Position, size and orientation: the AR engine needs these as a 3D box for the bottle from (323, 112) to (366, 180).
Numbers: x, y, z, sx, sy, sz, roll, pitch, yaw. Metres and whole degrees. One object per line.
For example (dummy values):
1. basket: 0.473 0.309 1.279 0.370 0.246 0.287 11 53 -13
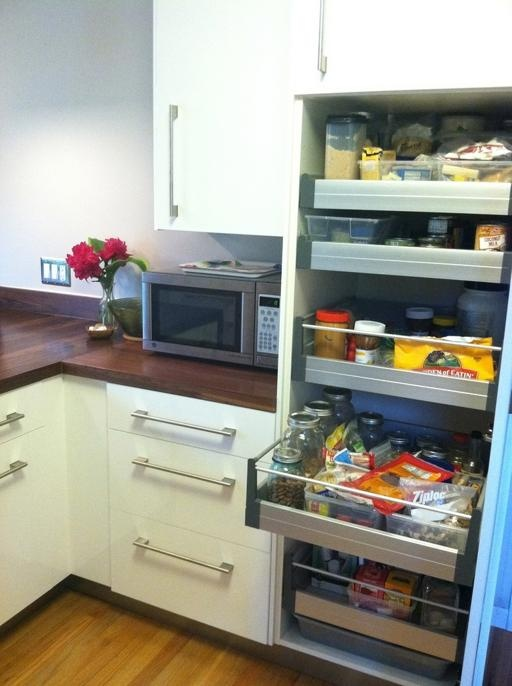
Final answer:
1. bottle: 0.186 -0.399 1.166 0.087 0.130 0.068 2 11 0

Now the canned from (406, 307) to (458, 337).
1. canned: 0.403 -0.050 1.312 0.104 0.046 0.062 -2 12 -7

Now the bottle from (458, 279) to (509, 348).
1. bottle: 0.499 -0.069 1.299 0.120 0.133 0.116 10 20 34

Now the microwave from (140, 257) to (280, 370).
1. microwave: -0.122 -0.074 1.629 0.426 0.257 0.305 7 13 27

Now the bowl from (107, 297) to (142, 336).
1. bowl: -0.429 -0.090 1.907 0.122 0.087 0.124 0 13 0

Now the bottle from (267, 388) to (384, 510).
1. bottle: 0.150 0.222 1.234 0.158 0.116 0.271 10 21 19
